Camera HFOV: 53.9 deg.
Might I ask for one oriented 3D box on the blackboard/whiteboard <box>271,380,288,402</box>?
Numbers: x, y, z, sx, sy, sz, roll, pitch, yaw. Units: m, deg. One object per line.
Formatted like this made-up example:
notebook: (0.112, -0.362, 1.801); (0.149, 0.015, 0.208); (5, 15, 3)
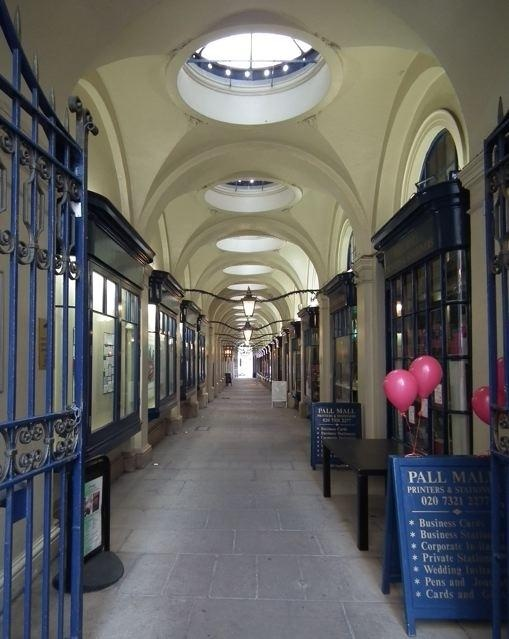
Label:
blackboard/whiteboard: (0.871, 2.567, 17.870); (0.569, 1.253, 0.526); (0, -8, -2)

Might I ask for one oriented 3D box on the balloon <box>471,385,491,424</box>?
balloon: (1.475, 0.553, 3.256); (0.089, 0.233, 0.332); (-1, -7, 23)

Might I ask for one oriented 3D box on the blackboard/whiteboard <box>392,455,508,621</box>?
blackboard/whiteboard: (1.204, 1.379, 3.105); (0.623, 1.016, 0.244); (1, -4, -1)
